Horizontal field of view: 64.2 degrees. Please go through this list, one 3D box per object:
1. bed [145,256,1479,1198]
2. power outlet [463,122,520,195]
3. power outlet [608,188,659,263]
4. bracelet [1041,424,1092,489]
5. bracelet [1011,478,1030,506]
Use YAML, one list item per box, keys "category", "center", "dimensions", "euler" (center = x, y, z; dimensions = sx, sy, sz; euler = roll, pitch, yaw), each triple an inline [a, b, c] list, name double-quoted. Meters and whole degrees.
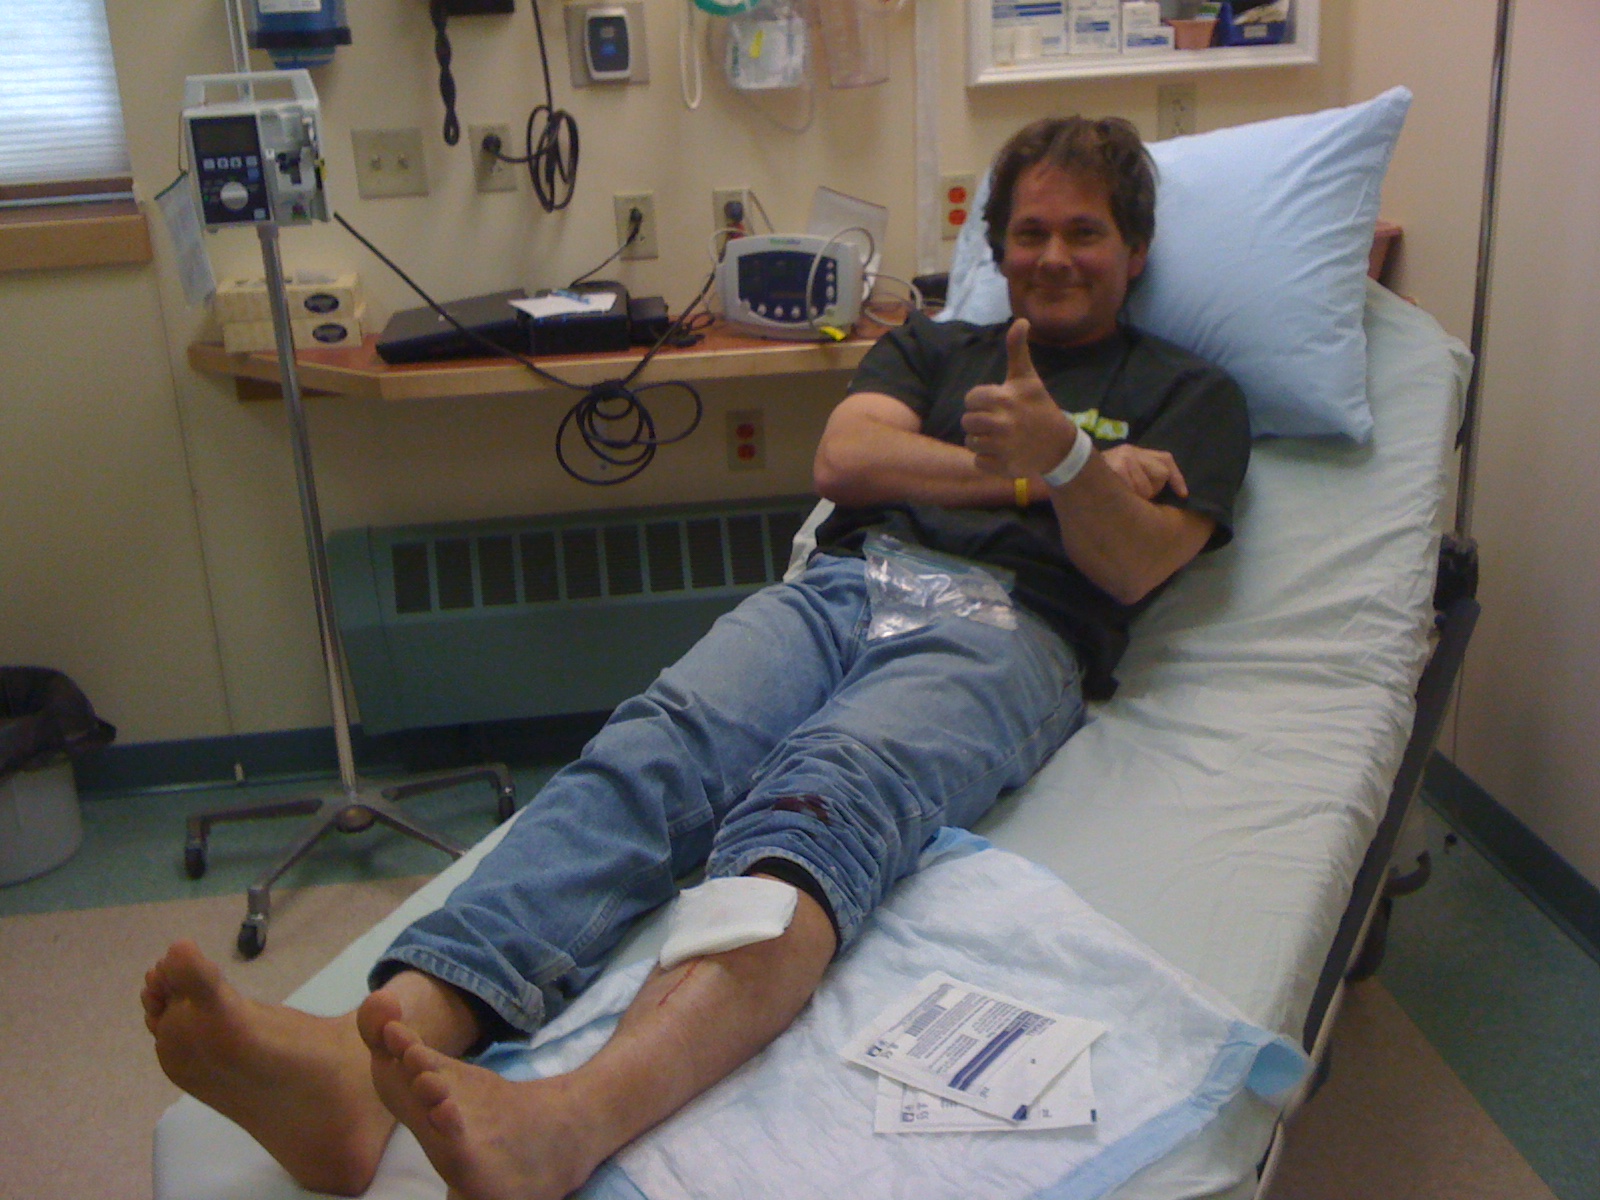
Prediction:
- category: "bed"
  center: [0.385, 0.389, 1.926]
  dimensions: [0.861, 0.742, 1.691]
  euler: [29, 54, 26]
- category: "power outlet"
  center: [-0.644, -0.918, 2.643]
  dimensions: [0.105, 0.150, 0.044]
  euler: [-7, 24, -15]
- category: "power outlet"
  center: [-0.359, -0.800, 2.710]
  dimensions: [0.131, 0.201, 0.020]
  euler: [-3, 23, -7]
- category: "bracelet"
  center: [0.382, -0.194, 1.827]
  dimensions: [0.028, 0.077, 0.079]
  euler: [30, 55, -15]
- category: "bracelet"
  center: [0.351, -0.170, 2.022]
  dimensions: [0.012, 0.035, 0.024]
  euler: [2, 0, -23]
